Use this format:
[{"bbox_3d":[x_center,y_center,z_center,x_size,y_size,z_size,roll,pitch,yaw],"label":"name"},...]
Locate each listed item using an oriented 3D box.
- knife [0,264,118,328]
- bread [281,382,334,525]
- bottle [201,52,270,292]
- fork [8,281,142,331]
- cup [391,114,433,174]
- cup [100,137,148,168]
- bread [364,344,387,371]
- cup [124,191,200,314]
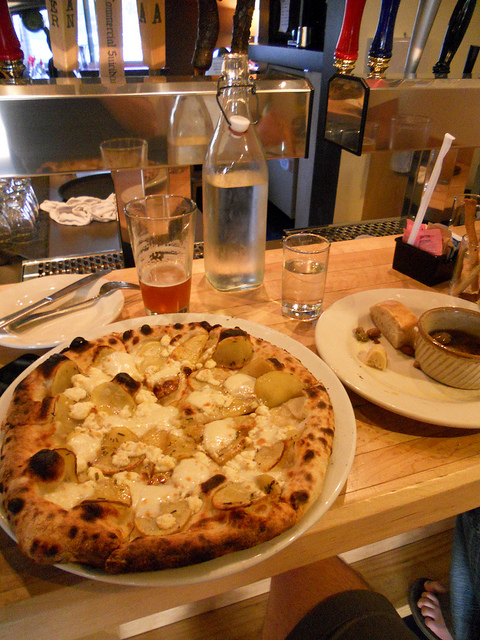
[{"bbox_3d":[-0.329,-0.079,1.017,0.046,0.020,0.405,49,37,3],"label":"knife"},{"bbox_3d":[0.092,0.165,0.618,0.049,0.023,0.224,8,35,11],"label":"bread"},{"bbox_3d":[-0.012,-0.268,0.967,0.139,0.475,0.144,0,34,0],"label":"bottle"},{"bbox_3d":[-0.325,-0.035,0.932,0.262,0.028,0.056,-27,43,-35],"label":"fork"},{"bbox_3d":[0.402,-0.414,1.145,0.107,0.121,0.106,-9,10,2],"label":"cup"},{"bbox_3d":[-0.210,-0.304,0.873,0.053,0.045,0.061,18,34,25],"label":"cup"},{"bbox_3d":[0.237,0.066,0.826,0.031,0.015,0.044,4,54,24],"label":"bread"},{"bbox_3d":[-0.149,-0.122,0.942,0.133,0.212,0.172,-3,34,-6],"label":"cup"}]
